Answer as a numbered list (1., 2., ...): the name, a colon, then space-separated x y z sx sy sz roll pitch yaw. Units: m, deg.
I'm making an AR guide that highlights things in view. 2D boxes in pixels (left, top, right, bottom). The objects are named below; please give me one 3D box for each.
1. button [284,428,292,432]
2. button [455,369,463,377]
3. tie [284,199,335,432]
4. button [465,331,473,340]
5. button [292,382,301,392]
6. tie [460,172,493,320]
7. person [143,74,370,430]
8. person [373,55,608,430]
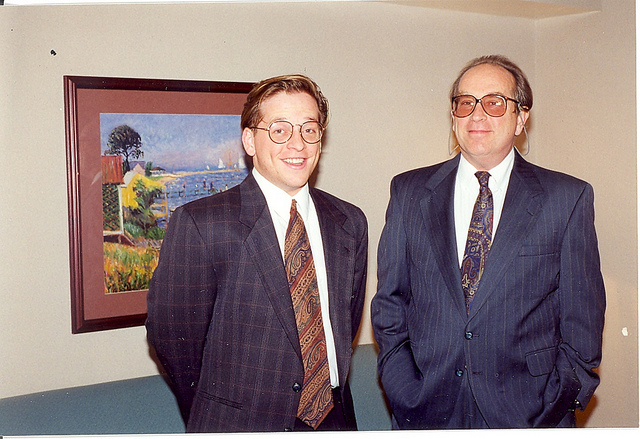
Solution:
1. button: -0.155 1.008 2.508 0.018 0.009 0.025 -4 -13 25
2. button: 0.665 0.734 2.514 0.031 0.030 0.008 -10 -4 23
3. tie: -0.062 0.479 2.576 0.191 1.014 0.223 -3 9 -10
4. button: 0.707 0.549 2.492 0.036 0.036 0.010 0 -7 18
5. button: -0.113 0.803 2.508 0.036 0.036 0.022 -14 -20 -1
6. tie: 0.770 0.113 2.611 0.111 0.768 0.084 12 -13 6
7. person: -0.312 0.176 2.631 1.080 1.770 0.509 -1 9 5
8. person: 0.818 0.117 2.613 1.136 1.791 0.510 -3 9 -7
